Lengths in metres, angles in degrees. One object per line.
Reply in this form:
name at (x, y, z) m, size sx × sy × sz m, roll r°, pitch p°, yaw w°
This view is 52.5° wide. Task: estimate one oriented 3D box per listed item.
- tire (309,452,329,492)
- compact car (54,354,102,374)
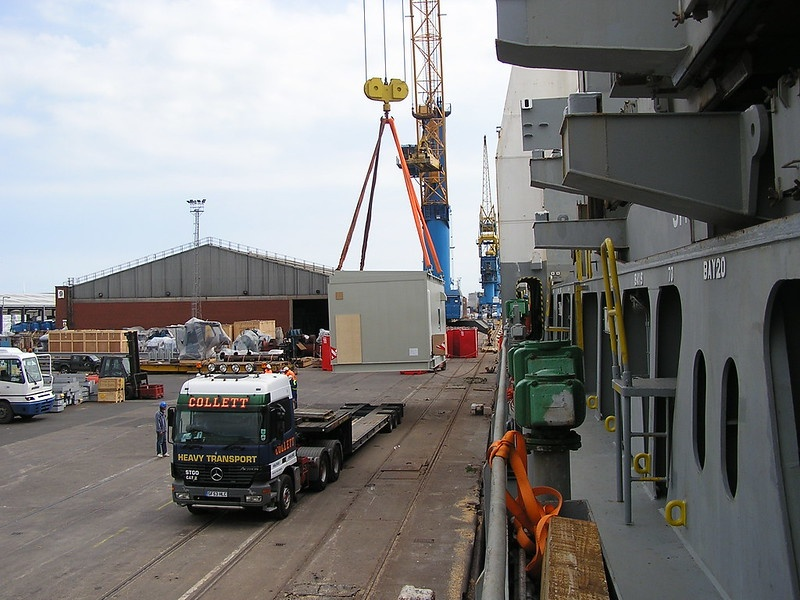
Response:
tire at (-1.783, 3.784, 17.808) m, size 0.201 × 0.786 × 0.690 m, roll 0°, pitch -5°, yaw 17°
compact car at (-17.194, 3.407, 43.192) m, size 2.611 × 0.936 × 0.766 m, roll -1°, pitch 2°, yaw 6°
